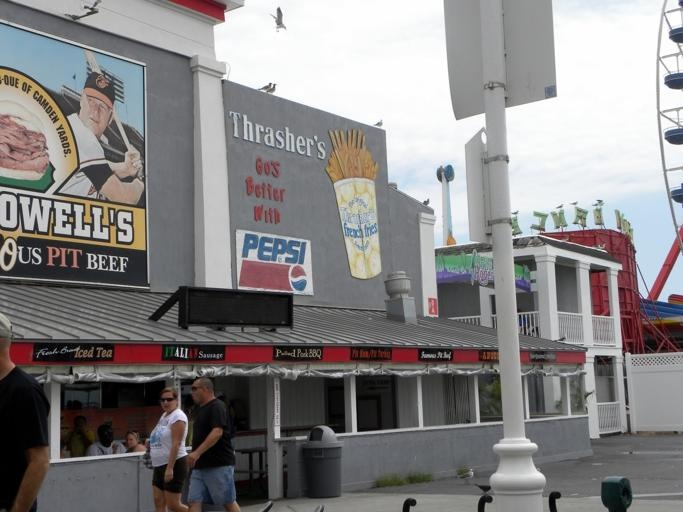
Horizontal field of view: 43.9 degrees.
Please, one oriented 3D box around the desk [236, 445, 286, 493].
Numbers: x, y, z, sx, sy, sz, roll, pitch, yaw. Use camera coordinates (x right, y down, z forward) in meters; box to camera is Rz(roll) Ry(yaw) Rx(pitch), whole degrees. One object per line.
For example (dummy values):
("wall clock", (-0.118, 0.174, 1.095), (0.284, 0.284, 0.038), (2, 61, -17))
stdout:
("desk", (-1.921, 4.787, 18.885), (0.861, 0.817, 0.935), (-1, -6, -18))
